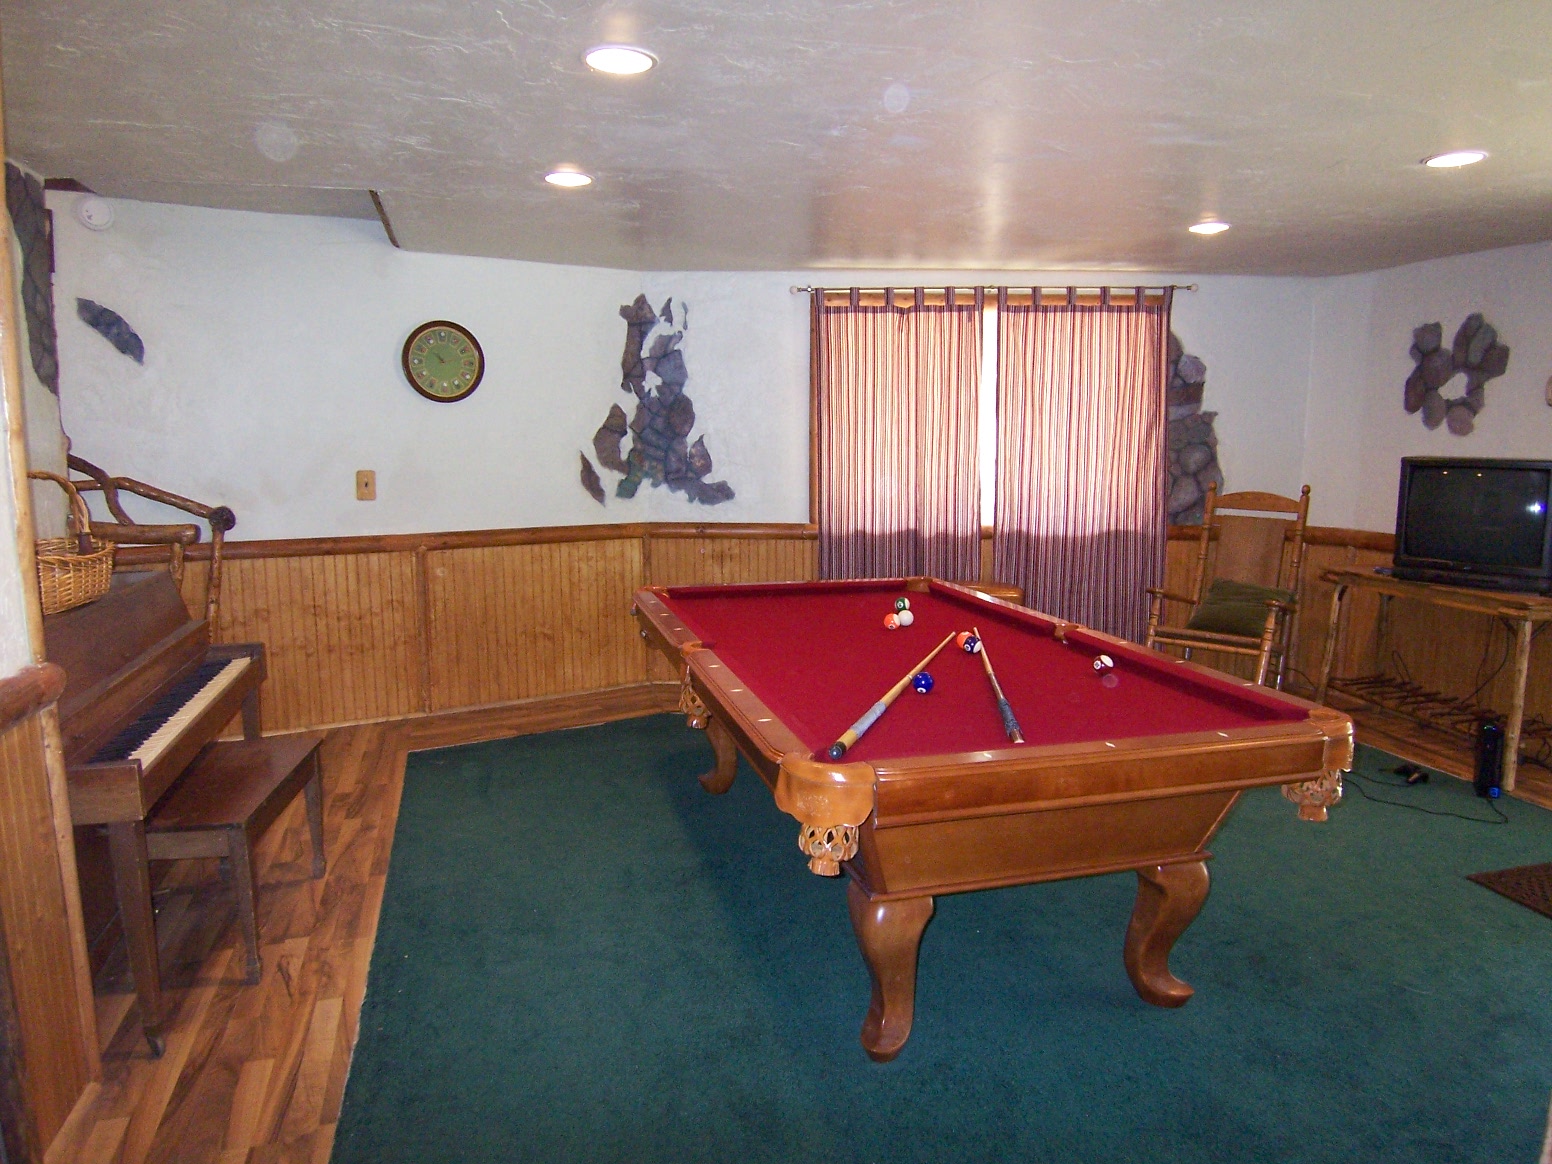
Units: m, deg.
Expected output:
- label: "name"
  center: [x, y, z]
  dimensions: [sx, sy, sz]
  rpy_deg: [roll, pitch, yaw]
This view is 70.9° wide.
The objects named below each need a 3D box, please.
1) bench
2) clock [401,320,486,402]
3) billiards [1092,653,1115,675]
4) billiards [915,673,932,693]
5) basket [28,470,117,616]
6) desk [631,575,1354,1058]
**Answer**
- label: "bench"
  center: [-1.845, 0.907, 3.775]
  dimensions: [0.555, 0.697, 0.803]
  rpy_deg: [2, 10, -11]
- label: "clock"
  center: [-1.848, -1.208, 6.028]
  dimensions: [0.442, 0.444, 0.102]
  rpy_deg: [-10, 16, -39]
- label: "billiards"
  center: [1.123, 0.271, 3.733]
  dimensions: [0.063, 0.047, 0.062]
  rpy_deg: [-30, 35, -35]
- label: "billiards"
  center: [0.489, 0.330, 3.575]
  dimensions: [0.043, 0.026, 0.057]
  rpy_deg: [4, 12, 14]
- label: "basket"
  center: [-2.314, -0.069, 3.573]
  dimensions: [0.230, 0.598, 0.276]
  rpy_deg: [2, 12, -19]
- label: "desk"
  center: [0.482, 0.784, 4.250]
  dimensions: [1.754, 1.001, 2.942]
  rpy_deg: [-2, 7, -18]
